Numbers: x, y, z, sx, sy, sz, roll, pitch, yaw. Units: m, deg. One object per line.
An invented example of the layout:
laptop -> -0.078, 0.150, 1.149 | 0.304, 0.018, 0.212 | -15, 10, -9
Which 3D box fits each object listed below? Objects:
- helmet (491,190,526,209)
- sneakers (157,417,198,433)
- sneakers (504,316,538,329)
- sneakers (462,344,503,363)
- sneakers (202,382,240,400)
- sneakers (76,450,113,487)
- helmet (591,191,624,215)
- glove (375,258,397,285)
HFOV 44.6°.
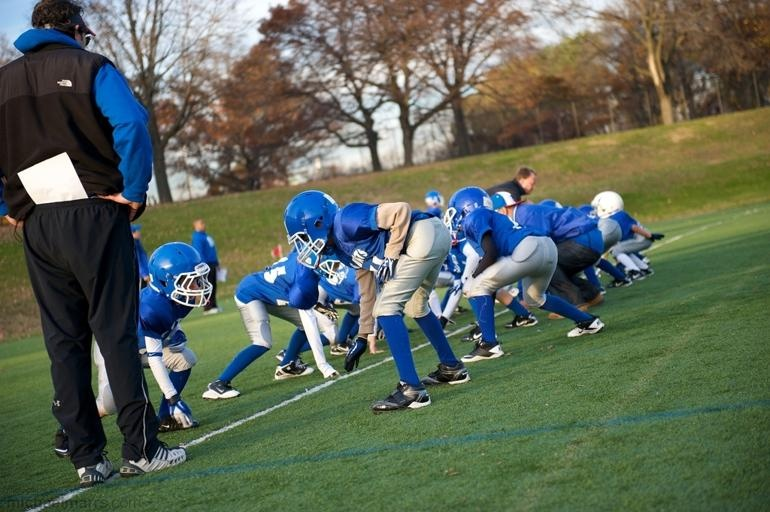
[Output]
helmet -> 1.736, -0.796, 13.565 | 0.362, 0.179, 0.225 | -19, 15, -23
sneakers -> -2.552, 2.097, 11.761 | 0.564, 0.216, 0.163 | -2, 24, -1
sneakers -> 2.009, 0.969, 13.906 | 0.533, 0.210, 0.176 | -3, 0, 14
sneakers -> 1.301, 1.273, 12.538 | 0.660, 0.259, 0.214 | -5, 0, 4
sneakers -> -2.204, 1.832, 12.804 | 0.563, 0.250, 0.209 | -1, -2, 11
sneakers -> -3.279, 2.452, 10.735 | 0.203, 0.242, 0.550 | -1, 4, 6
helmet -> 3.689, -0.895, 15.859 | 0.528, 0.404, 0.381 | 4, 10, 23
glove -> 0.009, 0.180, 11.424 | 0.199, 0.315, 0.128 | 26, -4, 5
